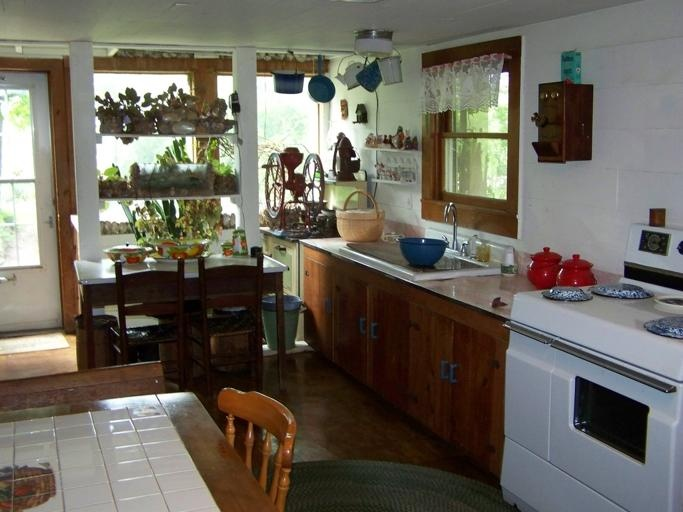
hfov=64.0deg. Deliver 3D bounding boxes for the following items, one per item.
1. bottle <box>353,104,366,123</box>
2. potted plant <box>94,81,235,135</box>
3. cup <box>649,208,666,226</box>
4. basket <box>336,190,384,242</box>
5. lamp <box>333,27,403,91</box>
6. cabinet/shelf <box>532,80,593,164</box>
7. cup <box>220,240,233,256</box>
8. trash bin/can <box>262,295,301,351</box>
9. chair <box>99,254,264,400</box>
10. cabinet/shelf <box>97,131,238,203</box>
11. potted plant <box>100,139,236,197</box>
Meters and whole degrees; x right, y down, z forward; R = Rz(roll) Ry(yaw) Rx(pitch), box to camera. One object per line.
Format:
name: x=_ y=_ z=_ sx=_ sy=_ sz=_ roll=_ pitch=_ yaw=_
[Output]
bottle: x=0.193 y=-1.441 z=5.552 sx=0.069 sy=0.192 sz=0.159 roll=-8 pitch=12 yaw=-37
potted plant: x=-1.390 y=-1.156 z=4.345 sx=1.035 sy=0.411 sz=0.271 roll=-6 pitch=11 yaw=-27
cup: x=1.636 y=-0.197 z=2.830 sx=0.084 sy=0.103 sz=0.086 roll=0 pitch=9 yaw=0
basket: x=0.134 y=-0.342 z=4.785 sx=0.432 sy=0.477 sz=0.431 roll=0 pitch=3 yaw=-9
lamp: x=0.223 y=-1.449 z=4.079 sx=0.537 sy=0.507 sz=0.345 roll=-1 pitch=17 yaw=-1
cabinet/shelf: x=1.310 y=-0.792 z=3.227 sx=0.352 sy=0.463 sz=0.221 roll=3 pitch=10 yaw=18
cup: x=-0.960 y=-0.058 z=4.511 sx=0.144 sy=0.111 sz=0.066 roll=9 pitch=14 yaw=43
trash bin/can: x=-0.542 y=0.586 z=5.003 sx=0.444 sy=0.474 sz=0.444 roll=-1 pitch=0 yaw=-10
chair: x=-1.147 y=0.526 z=4.101 sx=1.084 sy=1.166 sz=0.790 roll=-4 pitch=11 yaw=-22
cabinet/shelf: x=-1.407 y=-0.653 z=4.526 sx=1.085 sy=0.419 sz=0.666 roll=-6 pitch=10 yaw=-26
potted plant: x=-1.471 y=-0.739 z=4.576 sx=0.845 sy=0.504 sz=1.029 roll=8 pitch=13 yaw=38
